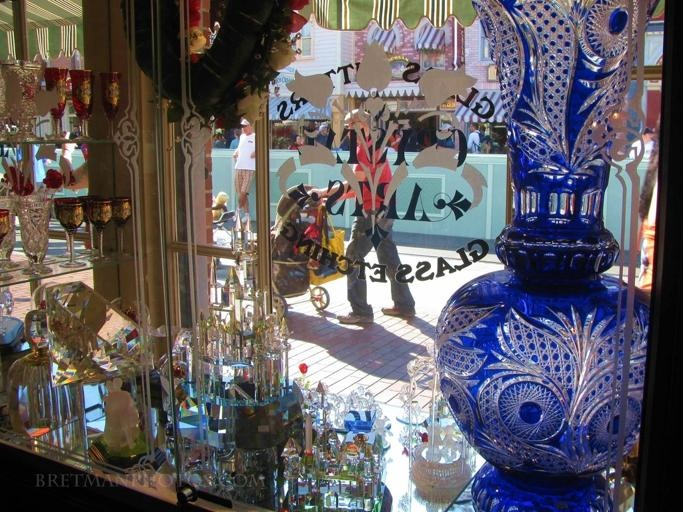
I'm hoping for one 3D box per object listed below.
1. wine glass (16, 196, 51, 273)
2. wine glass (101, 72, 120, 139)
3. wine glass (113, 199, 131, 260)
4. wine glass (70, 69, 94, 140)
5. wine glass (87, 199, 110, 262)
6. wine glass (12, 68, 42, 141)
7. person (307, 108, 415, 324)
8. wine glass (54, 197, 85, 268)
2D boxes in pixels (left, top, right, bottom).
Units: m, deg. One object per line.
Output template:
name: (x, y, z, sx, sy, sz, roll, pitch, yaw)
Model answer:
wine glass: (-1.043, -0.070, 2.448, 0.106, 0.258, 0.175, 2, -6, -26)
wine glass: (-0.765, -0.521, 2.380, 0.055, 0.148, 0.107, 2, -5, -19)
wine glass: (-0.825, -0.097, 2.718, 0.061, 0.201, 0.421, 1, -6, -16)
wine glass: (-0.891, -0.500, 2.461, 0.070, 0.215, 0.289, 2, -6, -21)
wine glass: (-0.893, -0.098, 2.656, 0.081, 0.210, 0.390, 2, -6, -19)
wine glass: (-1.064, -0.501, 2.423, 0.100, 0.232, 0.132, 2, -6, -25)
person: (0.082, -0.082, 2.630, 0.348, 0.610, 0.943, 0, -5, 6)
wine glass: (-0.962, -0.073, 2.547, 0.101, 0.234, 0.241, 2, -6, -21)
